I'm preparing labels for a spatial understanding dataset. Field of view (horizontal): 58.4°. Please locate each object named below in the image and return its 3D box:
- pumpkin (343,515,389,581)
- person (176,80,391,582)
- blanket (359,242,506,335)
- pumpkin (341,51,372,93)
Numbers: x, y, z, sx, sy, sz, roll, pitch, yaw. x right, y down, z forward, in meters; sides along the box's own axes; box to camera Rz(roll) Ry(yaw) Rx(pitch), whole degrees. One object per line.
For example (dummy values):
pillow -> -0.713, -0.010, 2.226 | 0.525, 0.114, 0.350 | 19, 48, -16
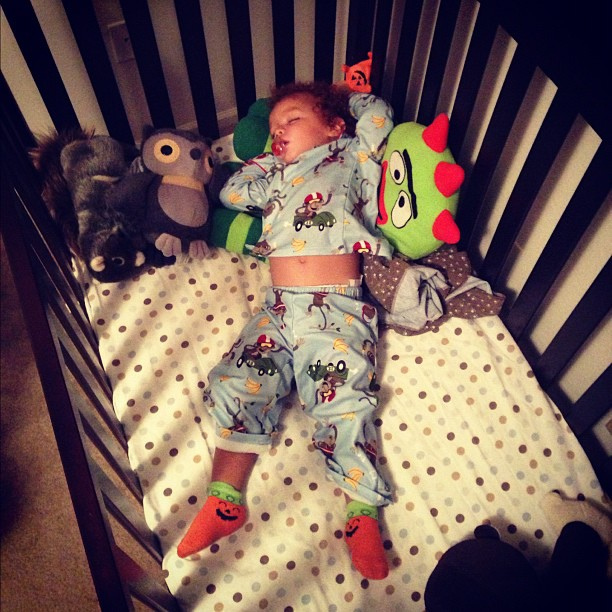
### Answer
pumpkin -> 0.127, 0.512, 1.167 | 0.068, 0.039, 0.129 | -3, 43, -9
person -> -0.032, -0.037, 1.481 | 0.461, 0.270, 1.440 | -3, 64, 7
blanket -> 0.336, -0.103, 1.650 | 0.454, 0.260, 0.360 | 3, 39, -3
pumpkin -> 0.151, -0.747, 1.692 | 0.097, 0.041, 0.106 | -20, 7, 24
